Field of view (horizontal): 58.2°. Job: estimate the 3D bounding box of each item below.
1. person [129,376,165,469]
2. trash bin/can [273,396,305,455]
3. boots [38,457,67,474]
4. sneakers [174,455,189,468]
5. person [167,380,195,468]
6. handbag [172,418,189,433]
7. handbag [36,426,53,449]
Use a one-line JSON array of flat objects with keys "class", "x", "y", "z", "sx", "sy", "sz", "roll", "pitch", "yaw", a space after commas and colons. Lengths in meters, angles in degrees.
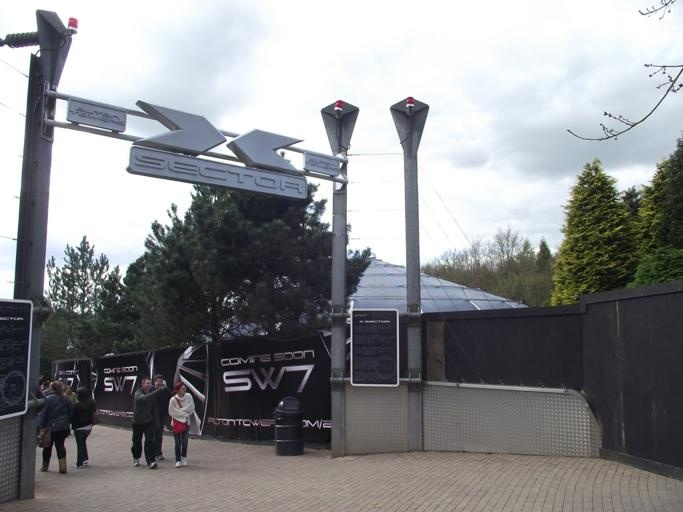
[{"class": "person", "x": -4.904, "y": 4.157, "z": 15.498, "sx": 0.746, "sy": 2.194, "sz": 1.474, "roll": -2, "pitch": -3, "yaw": -20}, {"class": "trash bin/can", "x": -1.368, "y": 4.582, "z": 16.773, "sx": 1.131, "sy": 1.930, "sz": 1.098, "roll": -1, "pitch": -5, "yaw": -2}, {"class": "boots", "x": -6.832, "y": 4.992, "z": 14.596, "sx": 0.325, "sy": 0.475, "sz": 1.053, "roll": 14, "pitch": -29, "yaw": -41}, {"class": "sneakers", "x": -3.936, "y": 5.108, "z": 15.202, "sx": 0.145, "sy": 0.210, "sz": 0.468, "roll": 1, "pitch": -24, "yaw": -2}, {"class": "person", "x": -3.953, "y": 4.160, "z": 15.240, "sx": 0.565, "sy": 2.014, "sz": 0.755, "roll": -2, "pitch": -2, "yaw": -17}, {"class": "handbag", "x": -3.917, "y": 4.147, "z": 14.953, "sx": 0.466, "sy": 0.422, "sz": 0.310, "roll": 1, "pitch": -21, "yaw": -12}, {"class": "handbag", "x": -6.928, "y": 4.163, "z": 14.348, "sx": 0.515, "sy": 0.644, "sz": 0.339, "roll": -13, "pitch": -14, "yaw": 41}]
